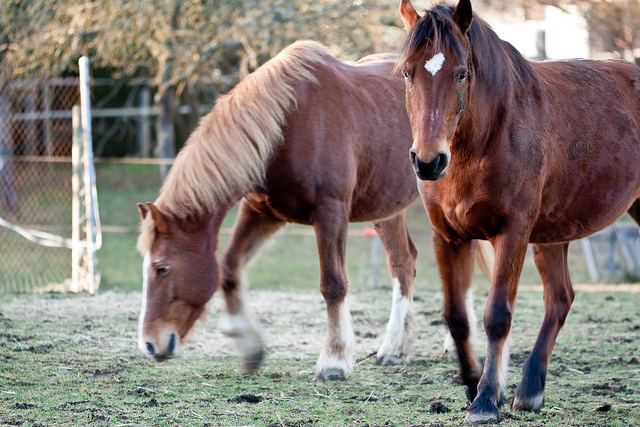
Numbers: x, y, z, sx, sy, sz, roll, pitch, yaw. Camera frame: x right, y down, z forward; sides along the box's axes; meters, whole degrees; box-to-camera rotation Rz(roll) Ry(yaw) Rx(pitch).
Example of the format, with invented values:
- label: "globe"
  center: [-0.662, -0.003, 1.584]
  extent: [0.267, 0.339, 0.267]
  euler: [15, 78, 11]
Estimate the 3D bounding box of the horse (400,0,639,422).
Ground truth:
- label: "horse"
  center: [1.967, 0.006, 10.897]
  extent: [2.498, 4.031, 0.657]
  euler: [1, 0, -26]
